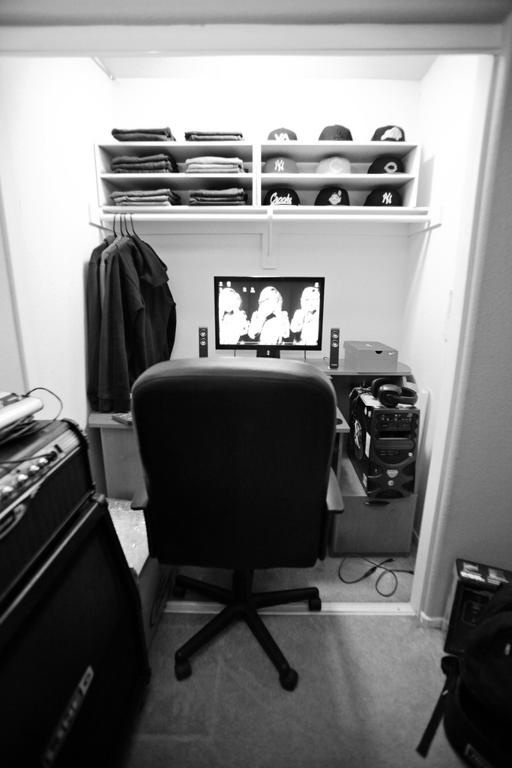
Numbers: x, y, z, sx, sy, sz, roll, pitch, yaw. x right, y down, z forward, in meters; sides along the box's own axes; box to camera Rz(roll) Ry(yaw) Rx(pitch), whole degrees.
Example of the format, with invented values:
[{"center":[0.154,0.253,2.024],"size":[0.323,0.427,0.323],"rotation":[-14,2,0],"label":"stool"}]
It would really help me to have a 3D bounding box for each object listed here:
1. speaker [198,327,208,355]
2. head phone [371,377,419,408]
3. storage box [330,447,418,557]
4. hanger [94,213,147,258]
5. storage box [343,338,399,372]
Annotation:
[{"center":[-0.249,-0.197,2.479],"size":[0.037,0.142,0.087],"rotation":[-4,20,-14],"label":"speaker"},{"center":[0.560,0.040,2.168],"size":[0.116,0.072,0.162],"rotation":[8,29,2],"label":"head phone"},{"center":[0.505,0.327,2.417],"size":[0.313,0.483,0.691],"rotation":[0,36,6],"label":"storage box"},{"center":[-0.618,-0.637,2.467],"size":[0.177,0.182,0.206],"rotation":[0,10,-4],"label":"hanger"},{"center":[0.498,-0.151,2.419],"size":[0.109,0.103,0.218],"rotation":[0,9,-3],"label":"storage box"}]
